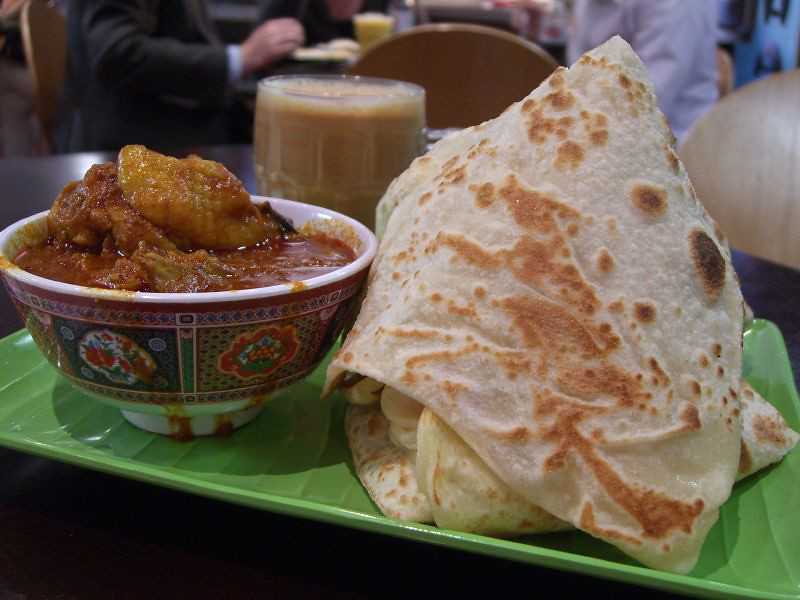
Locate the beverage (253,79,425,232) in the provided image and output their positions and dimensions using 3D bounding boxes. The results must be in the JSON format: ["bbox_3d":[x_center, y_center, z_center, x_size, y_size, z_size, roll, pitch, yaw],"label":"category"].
[{"bbox_3d":[-0.074,-0.322,1.633,0.370,0.313,0.306,5,17,26],"label":"beverage"}]

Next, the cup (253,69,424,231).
[{"bbox_3d":[-0.109,-0.298,1.688,0.452,0.405,0.434,1,25,-1],"label":"cup"}]
